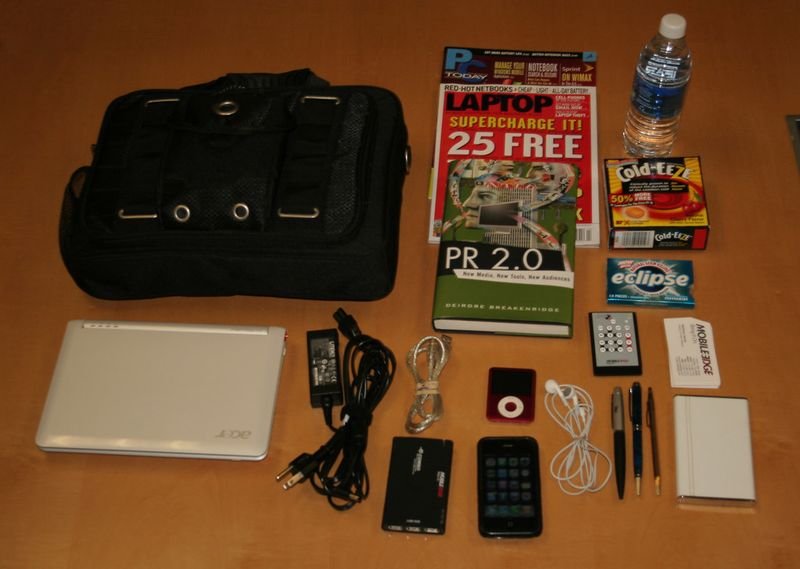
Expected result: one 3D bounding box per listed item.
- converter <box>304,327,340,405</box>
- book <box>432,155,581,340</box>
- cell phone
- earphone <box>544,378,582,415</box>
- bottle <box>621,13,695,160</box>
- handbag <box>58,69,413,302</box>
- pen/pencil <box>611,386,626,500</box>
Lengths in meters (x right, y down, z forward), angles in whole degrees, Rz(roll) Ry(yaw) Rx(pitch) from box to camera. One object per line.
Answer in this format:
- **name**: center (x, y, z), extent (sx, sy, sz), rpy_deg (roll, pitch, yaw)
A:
- **converter**: center (-0.171, 0.167, 1.677), extent (0.068, 0.153, 0.034), rpy_deg (-7, 13, -10)
- **book**: center (0.247, -0.090, 1.721), extent (0.301, 0.330, 0.293), rpy_deg (3, 23, 11)
- **cell phone**: center (0.228, 0.419, 1.552), extent (0.134, 0.150, 0.141), rpy_deg (1, 23, 5)
- **earphone**: center (0.355, 0.238, 1.623), extent (0.098, 0.044, 0.039), rpy_deg (49, 9, 14)
- **bottle**: center (0.618, -0.455, 1.809), extent (0.139, 0.270, 0.153), rpy_deg (7, 24, 19)
- **handbag**: center (-0.368, -0.205, 1.661), extent (0.648, 0.502, 0.221), rpy_deg (2, -19, 6)
- **pen/pencil**: center (0.462, 0.323, 1.581), extent (0.028, 0.207, 0.023), rpy_deg (-6, -29, 18)
